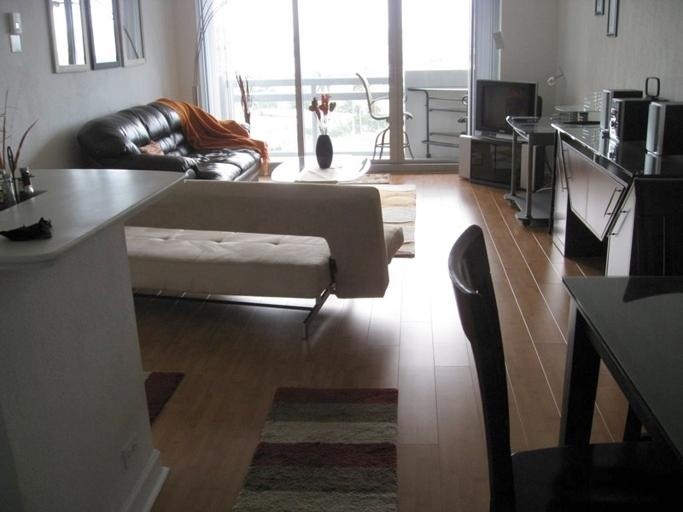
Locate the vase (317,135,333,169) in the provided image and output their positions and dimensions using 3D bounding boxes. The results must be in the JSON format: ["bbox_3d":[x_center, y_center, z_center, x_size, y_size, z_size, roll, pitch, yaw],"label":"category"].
[{"bbox_3d":[-0.175,-1.089,5.312,0.158,0.344,0.212,-4,18,-2],"label":"vase"}]

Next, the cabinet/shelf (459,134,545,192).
[{"bbox_3d":[1.910,-1.078,5.961,0.526,0.568,1.341,-9,20,-17],"label":"cabinet/shelf"}]

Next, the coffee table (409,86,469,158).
[{"bbox_3d":[1.330,-1.831,6.835,0.889,0.838,0.340,1,33,3],"label":"coffee table"}]

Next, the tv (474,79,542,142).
[{"bbox_3d":[1.871,-1.721,5.915,0.175,0.593,0.837,-17,23,-39],"label":"tv"}]

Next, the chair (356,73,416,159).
[{"bbox_3d":[0.544,-2.048,7.329,0.959,1.486,0.882,0,24,5],"label":"chair"}]

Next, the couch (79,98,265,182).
[{"bbox_3d":[-1.737,-1.159,5.387,1.164,0.882,1.880,2,19,13],"label":"couch"}]
